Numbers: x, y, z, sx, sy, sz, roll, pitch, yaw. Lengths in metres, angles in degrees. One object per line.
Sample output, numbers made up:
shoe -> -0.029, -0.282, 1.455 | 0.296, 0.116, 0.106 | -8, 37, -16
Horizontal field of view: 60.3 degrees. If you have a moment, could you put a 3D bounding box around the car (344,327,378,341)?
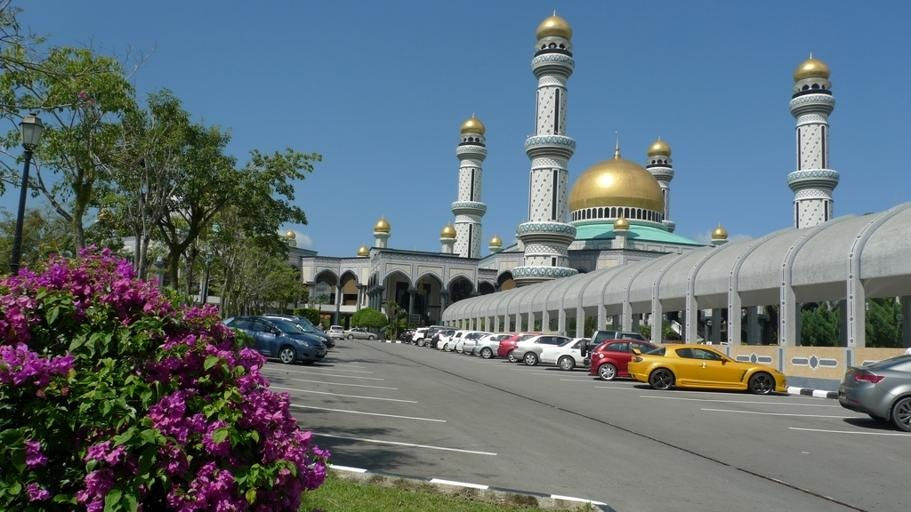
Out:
car -> -10.164, 8.661, 85.031 | 3.481, 1.053, 1.544 | -1, -2, -15

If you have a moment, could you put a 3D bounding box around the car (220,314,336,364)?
car -> -7.670, 3.606, 34.033 | 3.446, 1.307, 4.217 | 2, -2, -20
